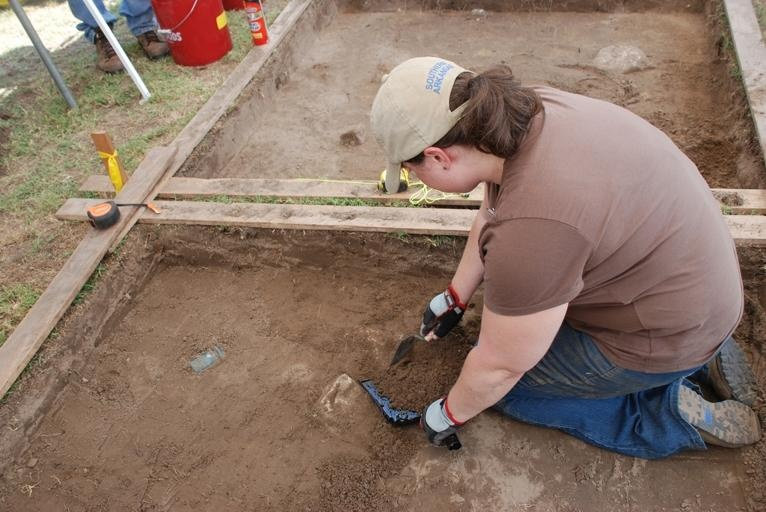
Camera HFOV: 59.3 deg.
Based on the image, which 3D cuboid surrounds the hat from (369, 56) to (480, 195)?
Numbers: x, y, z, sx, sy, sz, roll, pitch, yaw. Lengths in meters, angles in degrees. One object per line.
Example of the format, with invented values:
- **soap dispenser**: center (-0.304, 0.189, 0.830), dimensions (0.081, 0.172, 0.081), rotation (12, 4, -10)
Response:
- **hat**: center (0.203, -0.740, 3.862), dimensions (0.541, 0.634, 0.488), rotation (-5, 34, -13)

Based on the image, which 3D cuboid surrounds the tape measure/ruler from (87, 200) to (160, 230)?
- **tape measure/ruler**: center (-1.962, -0.352, 5.121), dimensions (0.506, 0.166, 0.172), rotation (-22, 51, -14)

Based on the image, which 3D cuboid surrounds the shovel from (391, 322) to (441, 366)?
- **shovel**: center (0.224, 0.604, 4.782), dimensions (0.403, 0.137, 0.073), rotation (-41, 17, -16)

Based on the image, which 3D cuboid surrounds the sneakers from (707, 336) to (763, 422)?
- **sneakers**: center (2.301, 0.785, 4.516), dimensions (0.230, 0.277, 0.671), rotation (-17, 55, 31)

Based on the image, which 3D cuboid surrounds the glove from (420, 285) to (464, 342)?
- **glove**: center (0.421, 0.414, 4.703), dimensions (0.263, 0.244, 0.464), rotation (8, 36, 10)

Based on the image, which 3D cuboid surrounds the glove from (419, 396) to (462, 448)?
- **glove**: center (0.367, 1.090, 4.387), dimensions (0.209, 0.352, 0.239), rotation (-42, 20, 3)
